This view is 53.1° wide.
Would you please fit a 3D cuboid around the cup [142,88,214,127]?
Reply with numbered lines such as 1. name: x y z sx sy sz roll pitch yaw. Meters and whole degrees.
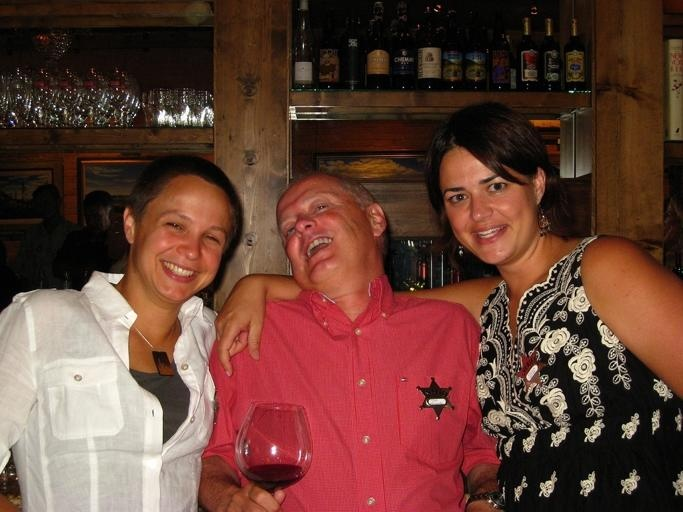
1. cup: -0.827 -0.723 3.467 0.249 0.160 0.223 -1 4 -5
